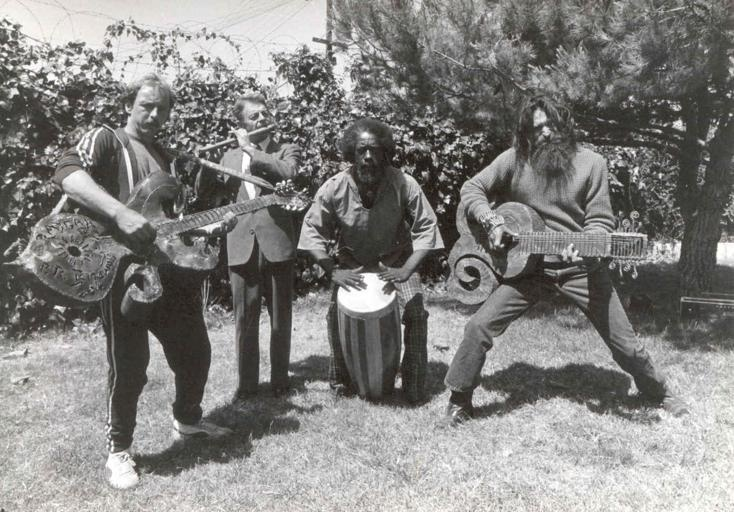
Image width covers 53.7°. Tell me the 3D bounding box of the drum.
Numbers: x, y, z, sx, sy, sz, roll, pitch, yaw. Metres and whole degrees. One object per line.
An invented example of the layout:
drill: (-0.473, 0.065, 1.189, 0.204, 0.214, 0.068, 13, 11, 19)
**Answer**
drum: (0.022, 0.818, 7.040, 0.608, 1.231, 0.345, -2, 12, -4)

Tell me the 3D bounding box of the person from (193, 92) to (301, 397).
person: (-1.257, -0.081, 7.544, 0.947, 3.259, 0.958, 0, 1, -10)
